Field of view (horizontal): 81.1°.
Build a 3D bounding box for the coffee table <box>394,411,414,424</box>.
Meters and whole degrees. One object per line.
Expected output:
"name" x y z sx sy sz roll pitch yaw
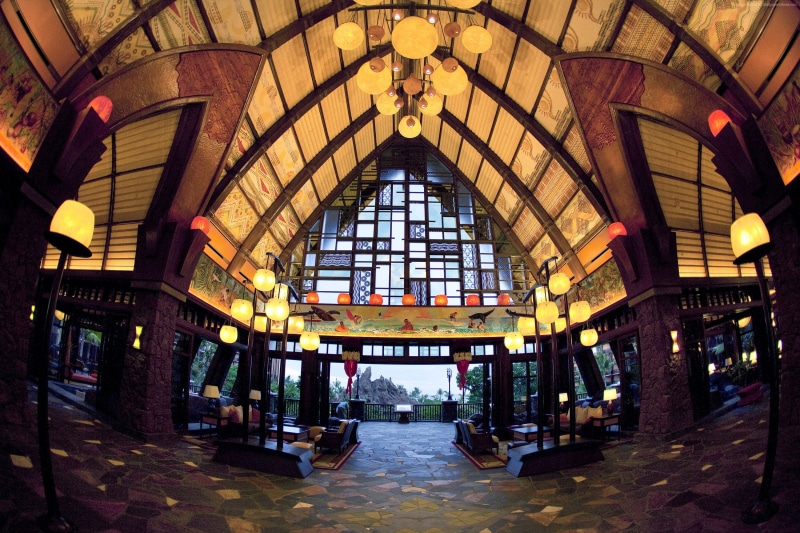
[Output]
"coffee table" 0.263 6.452 19.703 0.643 0.422 0.661 2 -9 -6
